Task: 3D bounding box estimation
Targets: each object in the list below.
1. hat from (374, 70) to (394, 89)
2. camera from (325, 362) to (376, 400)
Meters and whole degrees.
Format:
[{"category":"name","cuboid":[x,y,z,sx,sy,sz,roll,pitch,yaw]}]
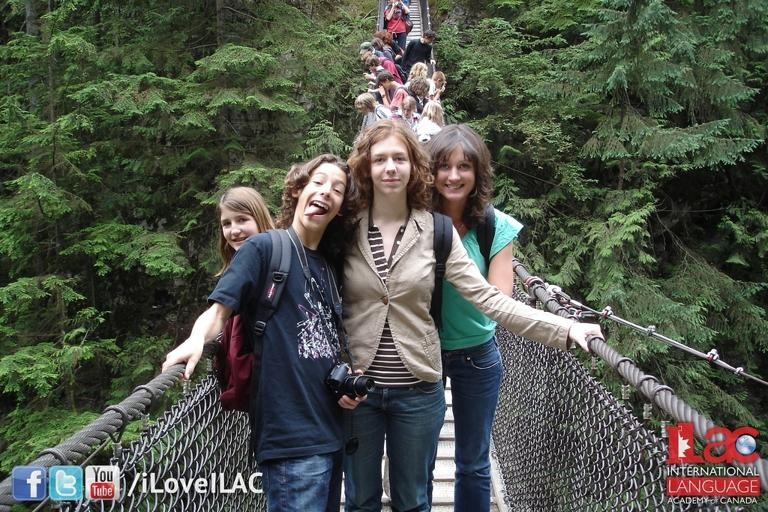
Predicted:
[{"category":"hat","cuboid":[0.003,-2.996,9.304,0.240,0.303,0.280,-3,12,-22]},{"category":"camera","cuboid":[-0.204,0.761,3.327,0.333,0.209,0.260,-10,-5,-32]}]
